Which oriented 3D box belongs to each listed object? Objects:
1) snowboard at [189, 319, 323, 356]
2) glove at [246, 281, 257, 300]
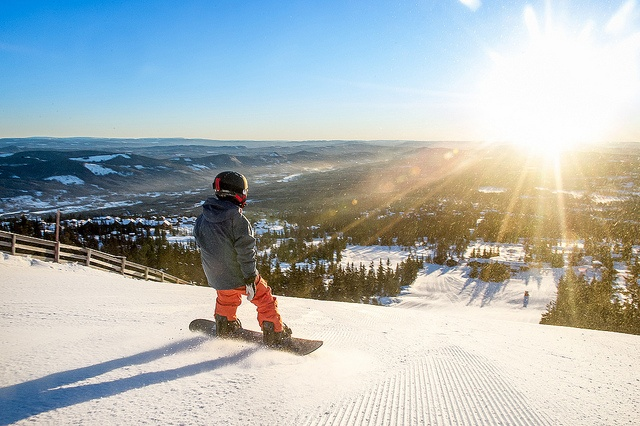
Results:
[{"bbox_3d":[-1.436,2.660,8.772,2.540,0.270,0.578,7,34,18],"label":"snowboard"},{"bbox_3d":[-1.404,1.602,8.440,0.210,0.342,0.234,6,1,-1],"label":"glove"}]
